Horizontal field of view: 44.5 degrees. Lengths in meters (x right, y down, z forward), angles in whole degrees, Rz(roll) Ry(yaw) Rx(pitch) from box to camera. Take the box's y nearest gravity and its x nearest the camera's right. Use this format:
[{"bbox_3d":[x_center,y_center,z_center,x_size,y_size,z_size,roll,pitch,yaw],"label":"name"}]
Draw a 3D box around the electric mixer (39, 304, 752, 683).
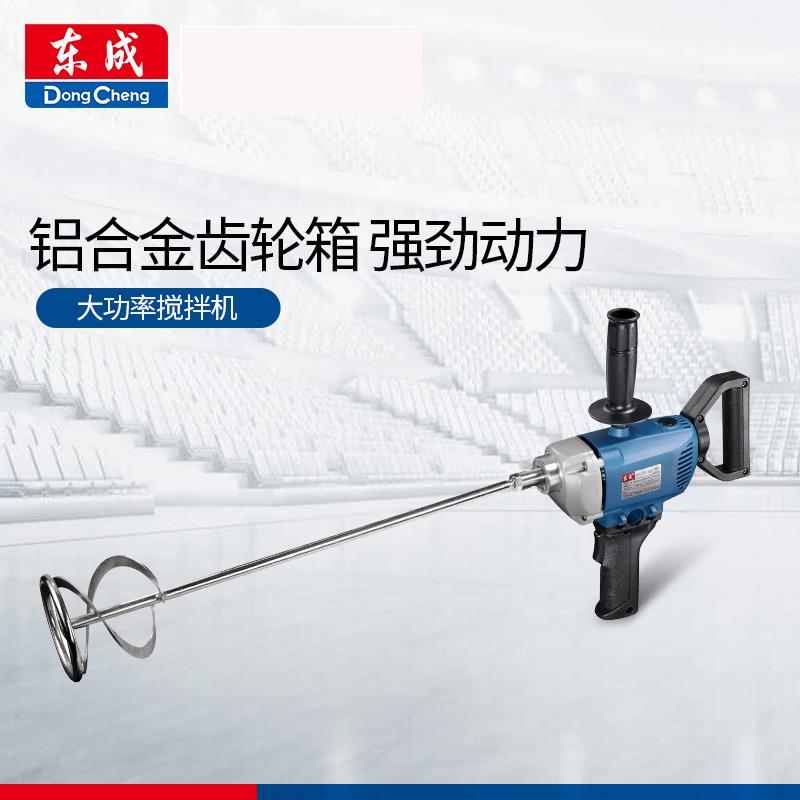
[{"bbox_3d":[-0.170,0.143,3.666,2.845,1.266,0.464,-13,17,-19],"label":"electric mixer"}]
